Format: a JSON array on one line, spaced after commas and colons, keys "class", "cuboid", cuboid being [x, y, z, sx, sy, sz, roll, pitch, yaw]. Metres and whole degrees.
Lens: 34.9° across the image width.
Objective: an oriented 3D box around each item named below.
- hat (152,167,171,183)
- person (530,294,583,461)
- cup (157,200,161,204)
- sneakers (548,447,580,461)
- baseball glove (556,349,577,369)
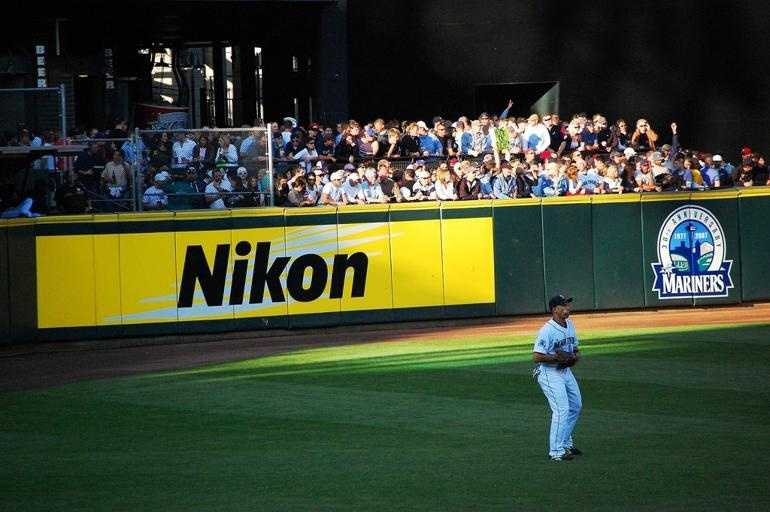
[{"class": "hat", "cuboid": [-5.511, -1.929, 30.342, 0.405, 0.372, 0.217, -2, 4, -12]}, {"class": "person", "cuboid": [3.288, 2.336, 23.181, 0.842, 3.069, 0.509, 0, 4, 7]}, {"class": "cup", "cuboid": [-5.636, -1.310, 30.620, 0.111, 0.115, 0.058, -2, 4, -14]}, {"class": "sneakers", "cuboid": [3.475, 3.773, 23.324, 0.691, 0.282, 0.219, 2, 4, -7]}, {"class": "baseball glove", "cuboid": [3.487, 1.968, 23.081, 0.447, 0.340, 0.157, -3, 5, -25]}]
